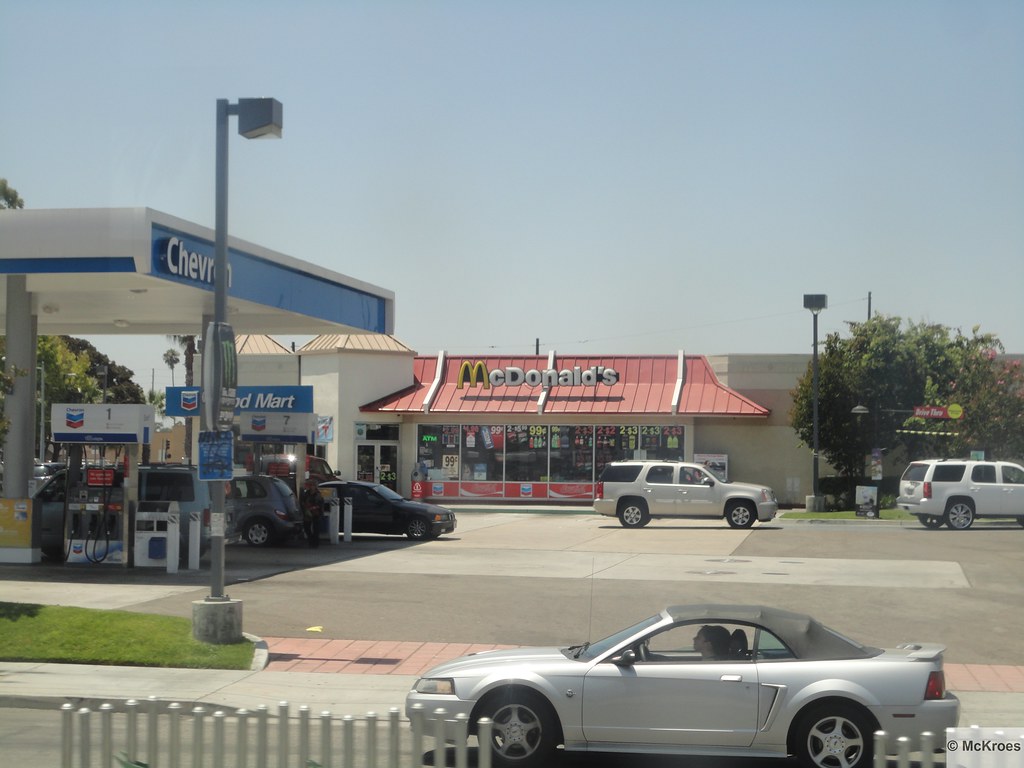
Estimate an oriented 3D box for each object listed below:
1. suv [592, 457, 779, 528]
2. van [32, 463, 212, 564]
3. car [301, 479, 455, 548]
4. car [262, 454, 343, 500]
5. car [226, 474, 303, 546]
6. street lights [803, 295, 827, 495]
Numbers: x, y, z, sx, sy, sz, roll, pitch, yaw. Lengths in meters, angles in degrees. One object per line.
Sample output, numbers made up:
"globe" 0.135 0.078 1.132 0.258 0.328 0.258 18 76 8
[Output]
"suv" 5.024 3.294 41.666 4.597 1.750 2.166 -2 -1 13
"van" -8.463 2.746 30.864 2.825 1.621 1.863 1 -3 -5
"car" -3.172 3.283 37.157 3.169 1.086 1.485 0 -2 3
"car" -6.273 2.757 41.857 1.825 0.994 1.295 -2 1 -6
"car" -5.935 3.001 34.447 1.951 1.070 1.230 2 -5 2
"street lights" 10.117 -0.211 47.890 0.748 5.524 0.686 4 5 37
